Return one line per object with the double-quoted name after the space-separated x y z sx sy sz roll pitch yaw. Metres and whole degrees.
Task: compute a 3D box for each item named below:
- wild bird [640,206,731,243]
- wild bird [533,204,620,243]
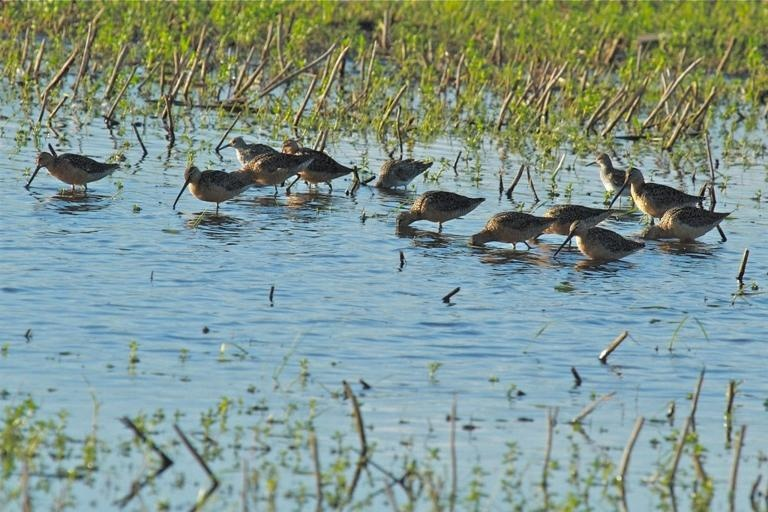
6.298 -0.609 17.864 1.737 0.653 0.732 -16 20 20 "wild bird"
3.889 -0.774 17.693 2.187 0.688 0.584 -13 19 -10 "wild bird"
